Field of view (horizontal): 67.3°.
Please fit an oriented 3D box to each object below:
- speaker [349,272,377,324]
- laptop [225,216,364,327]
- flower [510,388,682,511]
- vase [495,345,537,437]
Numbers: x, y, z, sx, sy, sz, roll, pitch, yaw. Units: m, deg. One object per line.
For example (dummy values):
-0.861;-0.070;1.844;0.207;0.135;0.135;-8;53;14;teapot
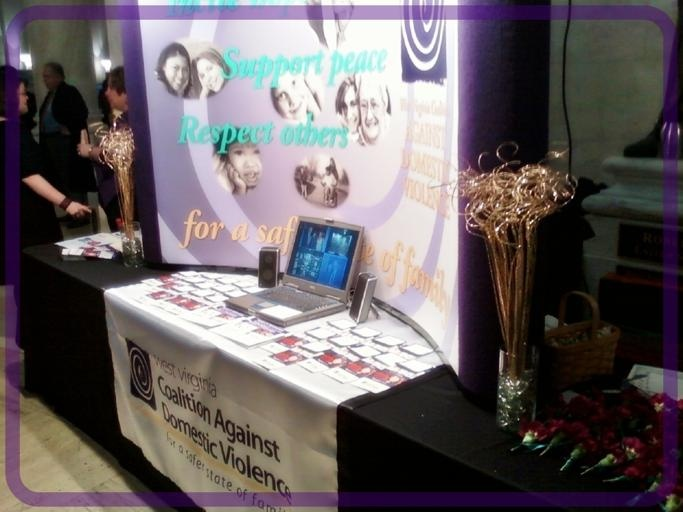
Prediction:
0.077;0.148;1.992;0.099;0.188;0.132;-1;17;-1;speaker
-0.188;0.045;2.124;0.460;0.348;0.384;13;22;38;laptop
0.605;0.407;1.132;0.239;0.105;0.254;-4;15;1;flower
0.452;0.347;1.336;0.122;0.185;0.125;1;1;41;vase
